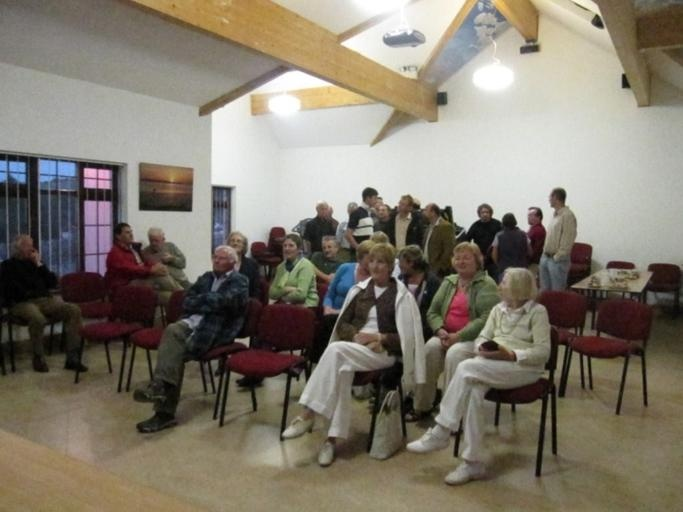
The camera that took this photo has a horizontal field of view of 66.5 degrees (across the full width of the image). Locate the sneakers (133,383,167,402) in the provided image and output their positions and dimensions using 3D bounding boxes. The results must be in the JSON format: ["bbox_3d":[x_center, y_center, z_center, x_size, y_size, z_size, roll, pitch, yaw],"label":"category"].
[{"bbox_3d":[-1.519,1.128,4.136,0.260,0.133,0.200,5,32,-12],"label":"sneakers"}]

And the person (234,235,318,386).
[{"bbox_3d":[-0.562,0.434,5.250,0.495,1.259,0.704,-5,-7,31],"label":"person"}]

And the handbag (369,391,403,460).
[{"bbox_3d":[0.367,1.261,3.982,0.199,0.498,0.452,6,5,23],"label":"handbag"}]

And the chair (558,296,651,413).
[{"bbox_3d":[2.560,0.863,4.873,1.092,0.895,0.705,-4,11,-25],"label":"chair"}]

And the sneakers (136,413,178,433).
[{"bbox_3d":[-1.467,1.321,4.183,0.262,0.195,0.134,7,-5,-28],"label":"sneakers"}]

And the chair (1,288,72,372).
[{"bbox_3d":[-3.068,0.777,5.458,0.812,0.911,0.552,-7,-6,38],"label":"chair"}]

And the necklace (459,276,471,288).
[{"bbox_3d":[1.042,0.226,4.394,0.078,0.064,0.079,1,-4,-39],"label":"necklace"}]

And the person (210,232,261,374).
[{"bbox_3d":[-1.046,0.286,5.270,0.439,1.046,0.510,0,-3,-33],"label":"person"}]

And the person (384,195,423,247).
[{"bbox_3d":[0.909,-0.396,6.929,0.343,0.774,0.522,-18,26,-35],"label":"person"}]

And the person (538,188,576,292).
[{"bbox_3d":[2.864,-0.183,6.925,0.309,1.400,0.469,-4,11,-20],"label":"person"}]

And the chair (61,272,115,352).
[{"bbox_3d":[-2.770,0.517,6.056,0.545,0.801,0.567,-4,5,-42],"label":"chair"}]

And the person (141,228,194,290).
[{"bbox_3d":[-2.295,0.042,6.812,0.459,0.873,0.436,-13,18,19],"label":"person"}]

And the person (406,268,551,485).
[{"bbox_3d":[1.050,0.811,3.754,1.042,1.380,0.469,-6,11,-31],"label":"person"}]

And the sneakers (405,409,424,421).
[{"bbox_3d":[0.608,1.330,4.356,0.161,0.046,0.066,1,1,23],"label":"sneakers"}]

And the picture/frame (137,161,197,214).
[{"bbox_3d":[-2.444,-0.945,7.206,0.035,0.625,0.753,2,3,38],"label":"picture/frame"}]

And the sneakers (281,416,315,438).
[{"bbox_3d":[-0.311,1.273,3.906,0.265,0.119,0.127,2,-5,-43],"label":"sneakers"}]

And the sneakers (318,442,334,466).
[{"bbox_3d":[-0.110,1.422,3.762,0.115,0.132,0.134,-1,10,-4],"label":"sneakers"}]

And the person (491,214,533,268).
[{"bbox_3d":[2.290,0.008,7.076,0.521,1.175,0.344,-4,19,6],"label":"person"}]

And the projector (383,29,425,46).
[{"bbox_3d":[0.779,-2.730,6.534,0.478,0.198,0.373,2,10,12],"label":"projector"}]

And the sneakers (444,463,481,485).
[{"bbox_3d":[0.846,1.482,3.608,0.290,0.142,0.110,-2,-3,-17],"label":"sneakers"}]
